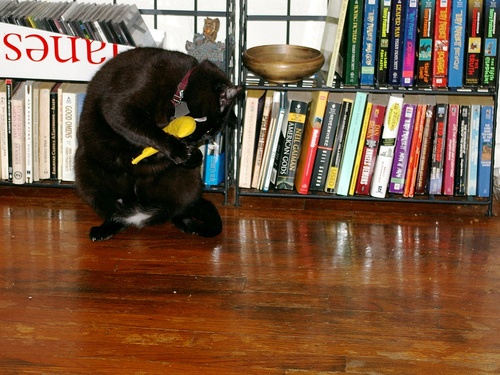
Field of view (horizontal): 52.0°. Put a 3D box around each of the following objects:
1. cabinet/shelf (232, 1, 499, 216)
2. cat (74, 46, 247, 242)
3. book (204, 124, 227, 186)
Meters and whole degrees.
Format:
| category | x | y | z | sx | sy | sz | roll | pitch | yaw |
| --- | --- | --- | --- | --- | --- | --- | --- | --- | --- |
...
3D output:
| category | x | y | z | sx | sy | sz | roll | pitch | yaw |
| --- | --- | --- | --- | --- | --- | --- | --- | --- | --- |
| cabinet/shelf | 0.556 | -0.333 | 2.333 | 1.259 | 0.978 | 0.378 | 1 | 38 | 1 |
| cat | -0.370 | -0.147 | 1.979 | 0.590 | 0.763 | 0.382 | 2 | 6 | -16 |
| book | -0.168 | -0.154 | 2.366 | 0.093 | 0.202 | 0.231 | 4 | 24 | 6 |
